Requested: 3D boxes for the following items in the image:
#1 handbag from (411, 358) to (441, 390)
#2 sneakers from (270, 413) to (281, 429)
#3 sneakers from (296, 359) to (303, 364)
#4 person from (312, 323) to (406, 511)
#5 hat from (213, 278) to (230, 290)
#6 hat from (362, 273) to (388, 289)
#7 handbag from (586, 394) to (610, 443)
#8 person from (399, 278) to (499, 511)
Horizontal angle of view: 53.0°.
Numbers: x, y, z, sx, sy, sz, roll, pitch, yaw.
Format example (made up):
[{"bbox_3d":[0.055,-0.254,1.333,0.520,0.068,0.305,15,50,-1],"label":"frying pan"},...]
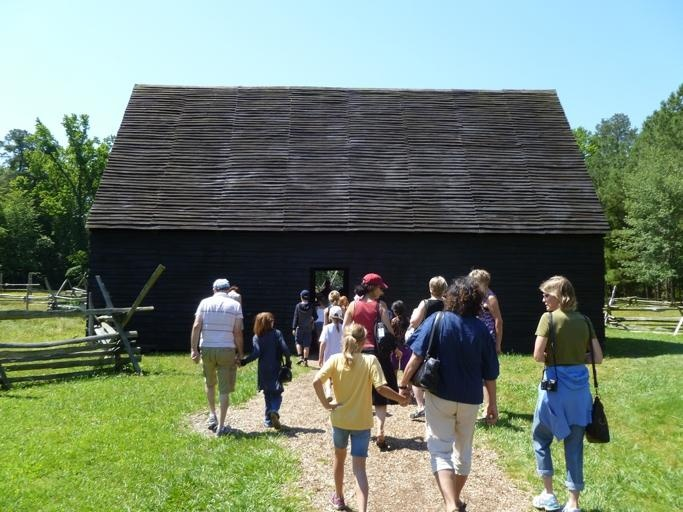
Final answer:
[{"bbox_3d":[1.283,1.771,10.371,0.190,0.392,0.384,22,-7,-32],"label":"handbag"},{"bbox_3d":[-1.269,3.125,13.085,0.153,0.388,0.166,-13,12,-4],"label":"sneakers"},{"bbox_3d":[-1.138,2.837,18.375,0.082,0.177,0.239,4,-15,-32],"label":"sneakers"},{"bbox_3d":[0.210,2.558,10.790,1.129,2.902,0.900,10,16,35],"label":"person"},{"bbox_3d":[-2.317,0.575,13.210,0.316,0.254,0.243,-3,7,-15],"label":"hat"},{"bbox_3d":[0.619,0.455,12.689,0.442,0.270,0.314,-1,7,-18],"label":"hat"},{"bbox_3d":[4.001,2.642,10.705,0.336,0.906,0.608,6,14,23],"label":"handbag"},{"bbox_3d":[1.620,2.042,10.598,1.157,3.388,1.163,-10,17,-41],"label":"person"}]
